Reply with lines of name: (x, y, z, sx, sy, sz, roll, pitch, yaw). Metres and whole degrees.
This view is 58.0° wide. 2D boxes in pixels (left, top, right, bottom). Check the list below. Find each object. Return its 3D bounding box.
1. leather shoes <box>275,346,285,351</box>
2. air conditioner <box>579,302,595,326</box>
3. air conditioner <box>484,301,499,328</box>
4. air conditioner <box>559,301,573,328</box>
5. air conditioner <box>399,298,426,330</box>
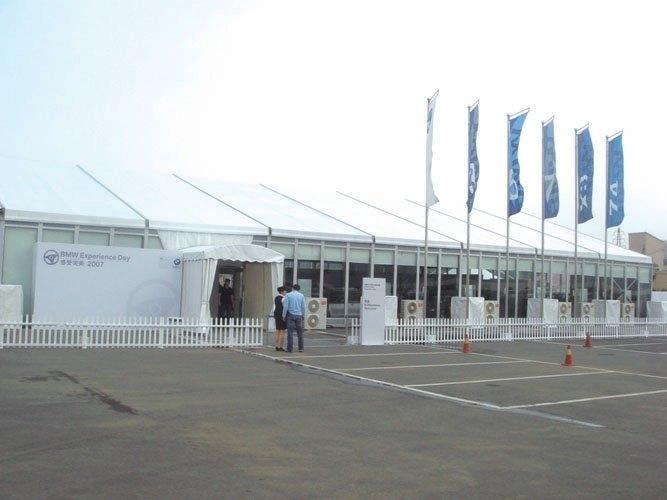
leather shoes: (-1.682, 3.149, 19.054, 0.312, 0.144, 0.114, -1, 2, 3)
air conditioner: (13.108, 3.352, 31.170, 0.749, 1.543, 0.824, 1, -5, -10)
air conditioner: (7.509, 2.894, 28.514, 0.708, 0.746, 7.637, 1, -2, 16)
air conditioner: (11.750, 3.313, 30.500, 0.808, 1.273, 0.619, 2, -4, -39)
air conditioner: (3.378, 2.880, 26.639, 1.280, 1.852, 0.845, 2, -3, -37)
